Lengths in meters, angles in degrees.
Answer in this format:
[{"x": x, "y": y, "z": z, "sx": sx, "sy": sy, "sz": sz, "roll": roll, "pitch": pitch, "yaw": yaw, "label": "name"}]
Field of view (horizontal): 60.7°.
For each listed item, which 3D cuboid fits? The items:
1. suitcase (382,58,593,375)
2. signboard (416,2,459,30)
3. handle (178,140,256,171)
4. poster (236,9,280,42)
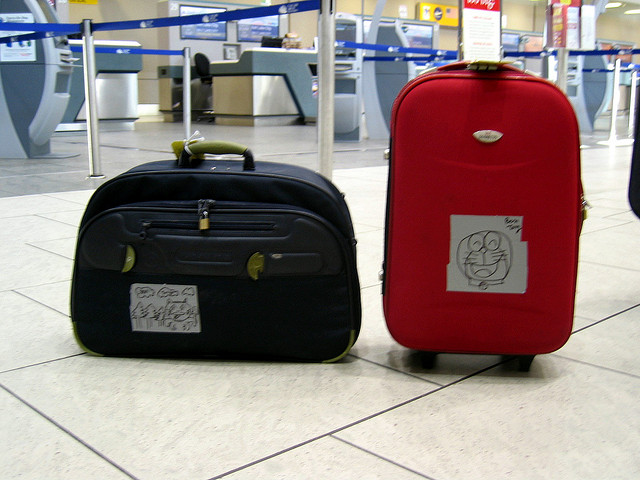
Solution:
[{"x": 0.369, "y": -0.044, "z": 1.175, "sx": 0.457, "sy": 0.670, "sz": 0.219, "roll": 1, "pitch": 20, "yaw": 4, "label": "suitcase"}, {"x": 3.947, "y": -7.507, "z": 18.261, "sx": 1.762, "sy": 0.837, "sz": 0.461, "roll": -11, "pitch": 21, "yaw": -36, "label": "signboard"}, {"x": -0.228, "y": -0.198, "z": 1.256, "sx": 0.213, "sy": 0.059, "sz": 0.038, "roll": 5, "pitch": 19, "yaw": 22, "label": "handle"}, {"x": -1.622, "y": -5.575, "z": 14.447, "sx": 0.713, "sy": 0.756, "sz": 1.412, "roll": 6, "pitch": 16, "yaw": 19, "label": "poster"}]
